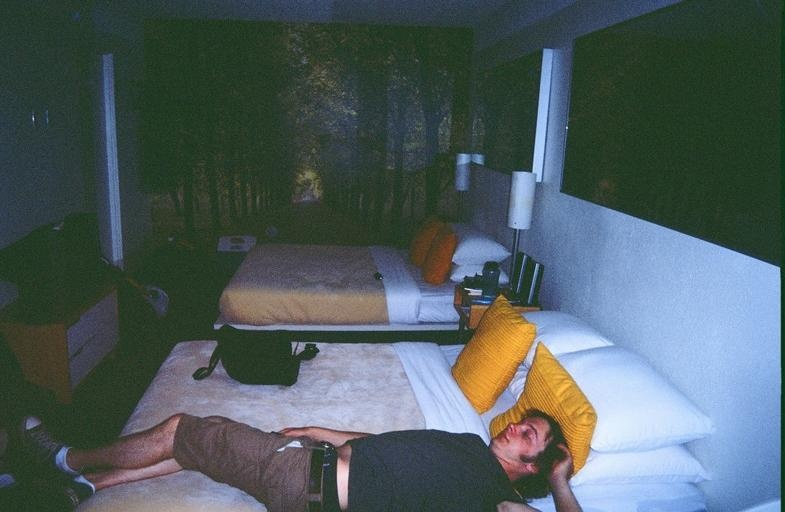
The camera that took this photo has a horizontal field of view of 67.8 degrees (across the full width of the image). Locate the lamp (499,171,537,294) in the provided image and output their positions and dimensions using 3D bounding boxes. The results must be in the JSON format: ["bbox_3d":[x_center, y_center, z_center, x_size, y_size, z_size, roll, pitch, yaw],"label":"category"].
[{"bbox_3d":[0.916,-0.183,4.237,0.183,0.867,0.267,6,17,12],"label":"lamp"}]

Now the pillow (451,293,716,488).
[{"bbox_3d":[0.936,0.632,2.992,0.854,0.324,0.968,-4,21,-13],"label":"pillow"}]

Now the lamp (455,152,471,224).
[{"bbox_3d":[0.653,-0.644,5.505,0.134,0.638,0.070,14,20,32],"label":"lamp"}]

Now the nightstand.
[{"bbox_3d":[0.709,0.355,4.165,0.558,0.490,0.352,1,35,-4],"label":"nightstand"}]

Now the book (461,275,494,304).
[{"bbox_3d":[0.611,0.247,4.223,0.202,0.044,0.190,-1,18,-1],"label":"book"}]

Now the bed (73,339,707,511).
[{"bbox_3d":[-0.209,0.830,3.189,1.938,0.432,1.104,1,25,-4],"label":"bed"}]

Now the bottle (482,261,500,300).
[{"bbox_3d":[0.708,0.183,4.226,0.173,0.302,0.187,2,17,-1],"label":"bottle"}]
